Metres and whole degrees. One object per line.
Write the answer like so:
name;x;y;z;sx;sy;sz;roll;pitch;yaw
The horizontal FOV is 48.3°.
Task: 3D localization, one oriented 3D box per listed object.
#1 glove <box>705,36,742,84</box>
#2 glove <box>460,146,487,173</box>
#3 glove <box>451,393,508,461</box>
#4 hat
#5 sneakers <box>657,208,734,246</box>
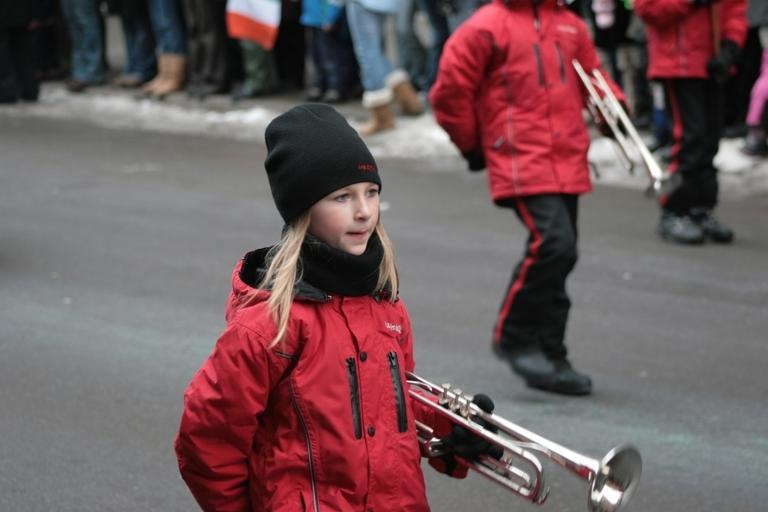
glove;1.701;-0.987;4.296;0.107;0.197;0.076;23;22;6
glove;0.449;-0.487;4.287;0.083;0.113;0.108;-17;0;-8
glove;0.348;0.702;3.233;0.230;0.169;0.272;-1;41;-2
hat;-0.233;-0.354;3.207;0.413;0.423;0.379;-18;11;35
sneakers;1.803;-0.157;4.933;0.373;0.181;0.248;1;21;3
